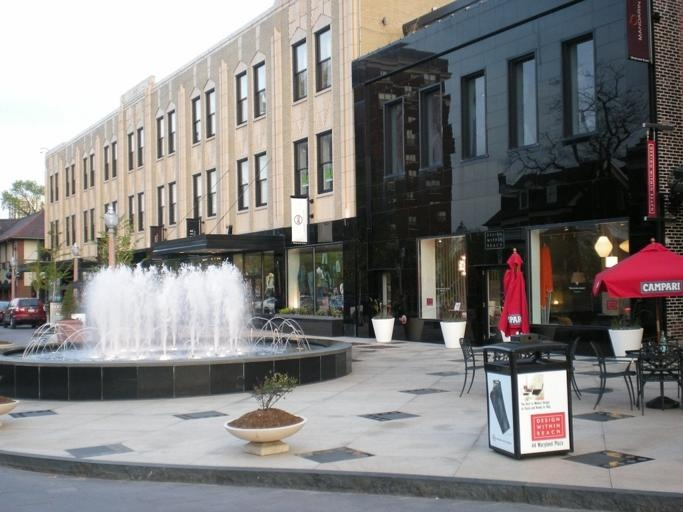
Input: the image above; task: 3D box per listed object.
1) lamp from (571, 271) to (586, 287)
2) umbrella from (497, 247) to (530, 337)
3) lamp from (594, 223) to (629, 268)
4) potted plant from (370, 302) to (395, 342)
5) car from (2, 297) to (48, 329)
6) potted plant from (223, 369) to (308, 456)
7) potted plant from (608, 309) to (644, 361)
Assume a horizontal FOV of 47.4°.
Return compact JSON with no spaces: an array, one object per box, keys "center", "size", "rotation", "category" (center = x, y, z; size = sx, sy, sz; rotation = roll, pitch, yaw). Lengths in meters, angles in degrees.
[{"center":[6.691,0.652,21.996],"size":[0.319,0.278,0.383],"rotation":[0,-2,4],"category":"lamp"},{"center":[3.637,0.864,16.631],"size":[0.594,1.851,1.606],"rotation":[-3,-6,11],"category":"umbrella"},{"center":[7.212,-0.284,20.728],"size":[0.410,1.142,1.139],"rotation":[0,-5,-26],"category":"lamp"},{"center":[1.520,2.452,28.110],"size":[0.804,1.402,1.358],"rotation":[-2,-6,4],"category":"potted plant"},{"center":[-18.101,3.224,44.192],"size":[1.377,1.231,3.067],"rotation":[0,0,-31],"category":"car"},{"center":[-1.227,2.429,12.014],"size":[1.222,1.159,1.280],"rotation":[5,-5,-35],"category":"potted plant"},{"center":[7.706,2.114,20.572],"size":[0.885,1.101,0.882],"rotation":[9,-18,-44],"category":"potted plant"}]
